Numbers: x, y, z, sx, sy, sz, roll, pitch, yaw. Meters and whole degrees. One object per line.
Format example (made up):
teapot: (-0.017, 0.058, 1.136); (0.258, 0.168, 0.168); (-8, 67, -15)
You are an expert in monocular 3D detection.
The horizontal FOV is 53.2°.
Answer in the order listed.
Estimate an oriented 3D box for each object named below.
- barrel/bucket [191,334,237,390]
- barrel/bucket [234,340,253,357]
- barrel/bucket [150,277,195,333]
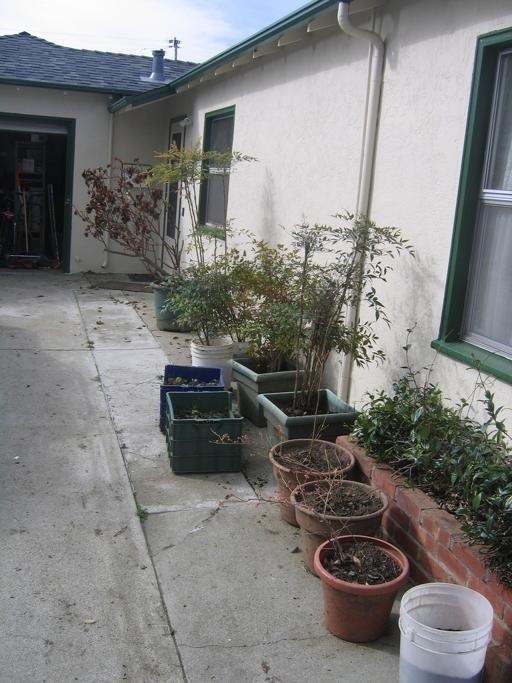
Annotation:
barrel/bucket: (-0.409, 0.178, 4.888); (0.465, 0.485, 0.456); (0, 9, 0)
barrel/bucket: (-0.119, 0.041, 4.945); (0.239, 0.155, 0.131); (2, 10, -10)
barrel/bucket: (-1.187, -0.461, 6.946); (0.673, 0.625, 0.710); (1, 4, 0)
